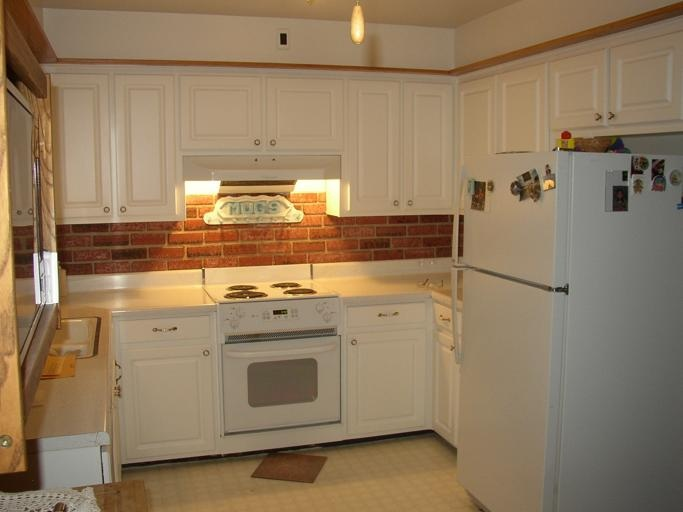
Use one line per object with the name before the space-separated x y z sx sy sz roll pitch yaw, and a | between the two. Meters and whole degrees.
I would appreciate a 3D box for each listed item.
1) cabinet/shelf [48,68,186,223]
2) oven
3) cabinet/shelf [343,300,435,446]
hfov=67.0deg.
cabinet/shelf | -1.445 -0.727 3.239 0.904 1.120 0.549 -1 5 -13
oven | -0.435 0.838 3.495 0.799 0.609 0.558 1 -5 -22
cabinet/shelf | 0.236 0.658 3.737 0.784 1.036 0.811 1 16 4
